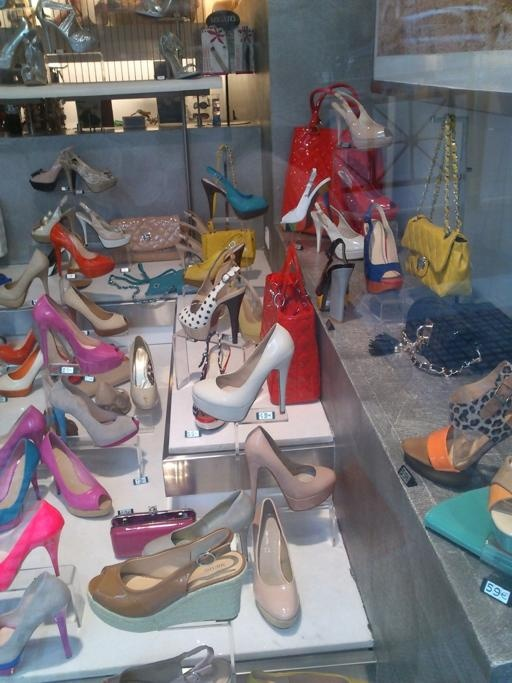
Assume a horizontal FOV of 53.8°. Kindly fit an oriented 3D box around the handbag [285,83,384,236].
[{"bbox_3d":[0.335,-0.804,2.207,0.238,0.585,0.740,-5,20,-10],"label":"handbag"}]

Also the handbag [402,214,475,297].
[{"bbox_3d":[0.428,-0.202,1.188,0.085,0.154,0.251,-10,27,-3],"label":"handbag"}]

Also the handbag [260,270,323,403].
[{"bbox_3d":[0.105,-0.021,1.652,0.143,0.379,0.393,-1,7,-12],"label":"handbag"}]

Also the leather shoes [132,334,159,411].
[{"bbox_3d":[-0.420,0.119,1.909,0.091,0.096,0.271,-3,49,-17],"label":"leather shoes"}]
